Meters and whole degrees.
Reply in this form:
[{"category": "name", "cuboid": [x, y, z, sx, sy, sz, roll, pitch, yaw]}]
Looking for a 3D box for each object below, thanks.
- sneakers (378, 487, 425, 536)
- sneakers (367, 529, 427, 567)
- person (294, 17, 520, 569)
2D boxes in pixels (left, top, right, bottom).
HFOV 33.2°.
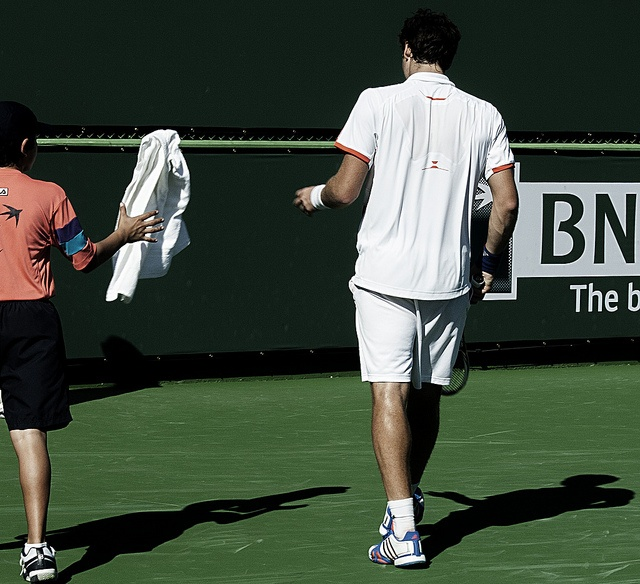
[{"category": "sneakers", "cuboid": [0.364, 0.960, 4.661, 0.114, 0.148, 0.334, 2, -1, 3]}, {"category": "sneakers", "cuboid": [0.310, 1.068, 4.470, 0.119, 0.148, 0.325, 3, -9, -31]}, {"category": "person", "cuboid": [0.467, -0.033, 4.607, 0.777, 2.358, 0.633, -4, 8, -31]}]
